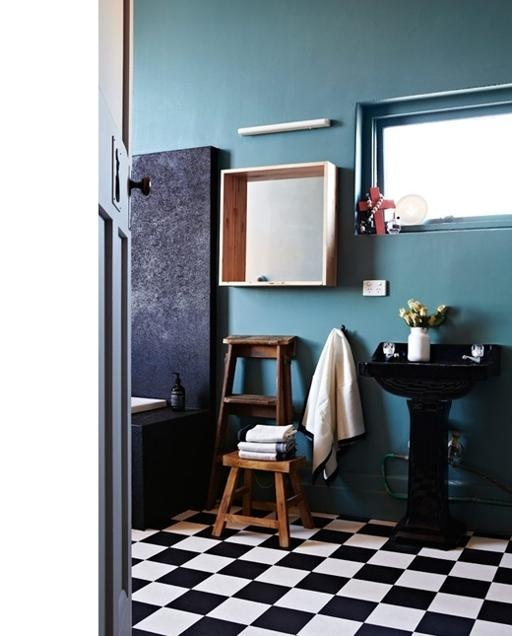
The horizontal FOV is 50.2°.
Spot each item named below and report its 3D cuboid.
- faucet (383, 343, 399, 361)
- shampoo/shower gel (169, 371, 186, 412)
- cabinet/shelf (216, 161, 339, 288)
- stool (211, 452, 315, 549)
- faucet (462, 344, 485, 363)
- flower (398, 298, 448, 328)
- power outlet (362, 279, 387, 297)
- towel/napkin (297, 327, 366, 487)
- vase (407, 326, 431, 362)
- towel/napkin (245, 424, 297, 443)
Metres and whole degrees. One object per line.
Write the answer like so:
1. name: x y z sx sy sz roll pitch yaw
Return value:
1. faucet: 0.728 0.189 2.964 0.076 0.090 0.150 -2 0 19
2. shampoo/shower gel: -0.493 0.462 3.427 0.106 0.227 0.240 0 -2 -10
3. cabinet/shelf: 0.127 -0.592 3.448 0.692 0.739 0.213 6 3 36
4. stool: 0.044 0.916 2.898 0.432 0.428 0.496 3 -5 7
5. faucet: 1.115 0.188 2.792 0.077 0.106 0.096 -1 -4 41
6. flower: 0.895 -0.020 2.908 0.266 0.165 0.249 -1 -3 19
7. power outlet: 0.672 -0.192 3.099 0.124 0.101 0.082 2 6 31
8. towel/napkin: 0.436 0.498 3.123 0.297 0.875 0.220 8 14 22
9. vase: 0.854 0.142 2.863 0.115 0.177 0.153 -1 -2 16
10. towel/napkin: 0.082 0.600 2.821 0.219 0.080 0.201 -2 -3 36
